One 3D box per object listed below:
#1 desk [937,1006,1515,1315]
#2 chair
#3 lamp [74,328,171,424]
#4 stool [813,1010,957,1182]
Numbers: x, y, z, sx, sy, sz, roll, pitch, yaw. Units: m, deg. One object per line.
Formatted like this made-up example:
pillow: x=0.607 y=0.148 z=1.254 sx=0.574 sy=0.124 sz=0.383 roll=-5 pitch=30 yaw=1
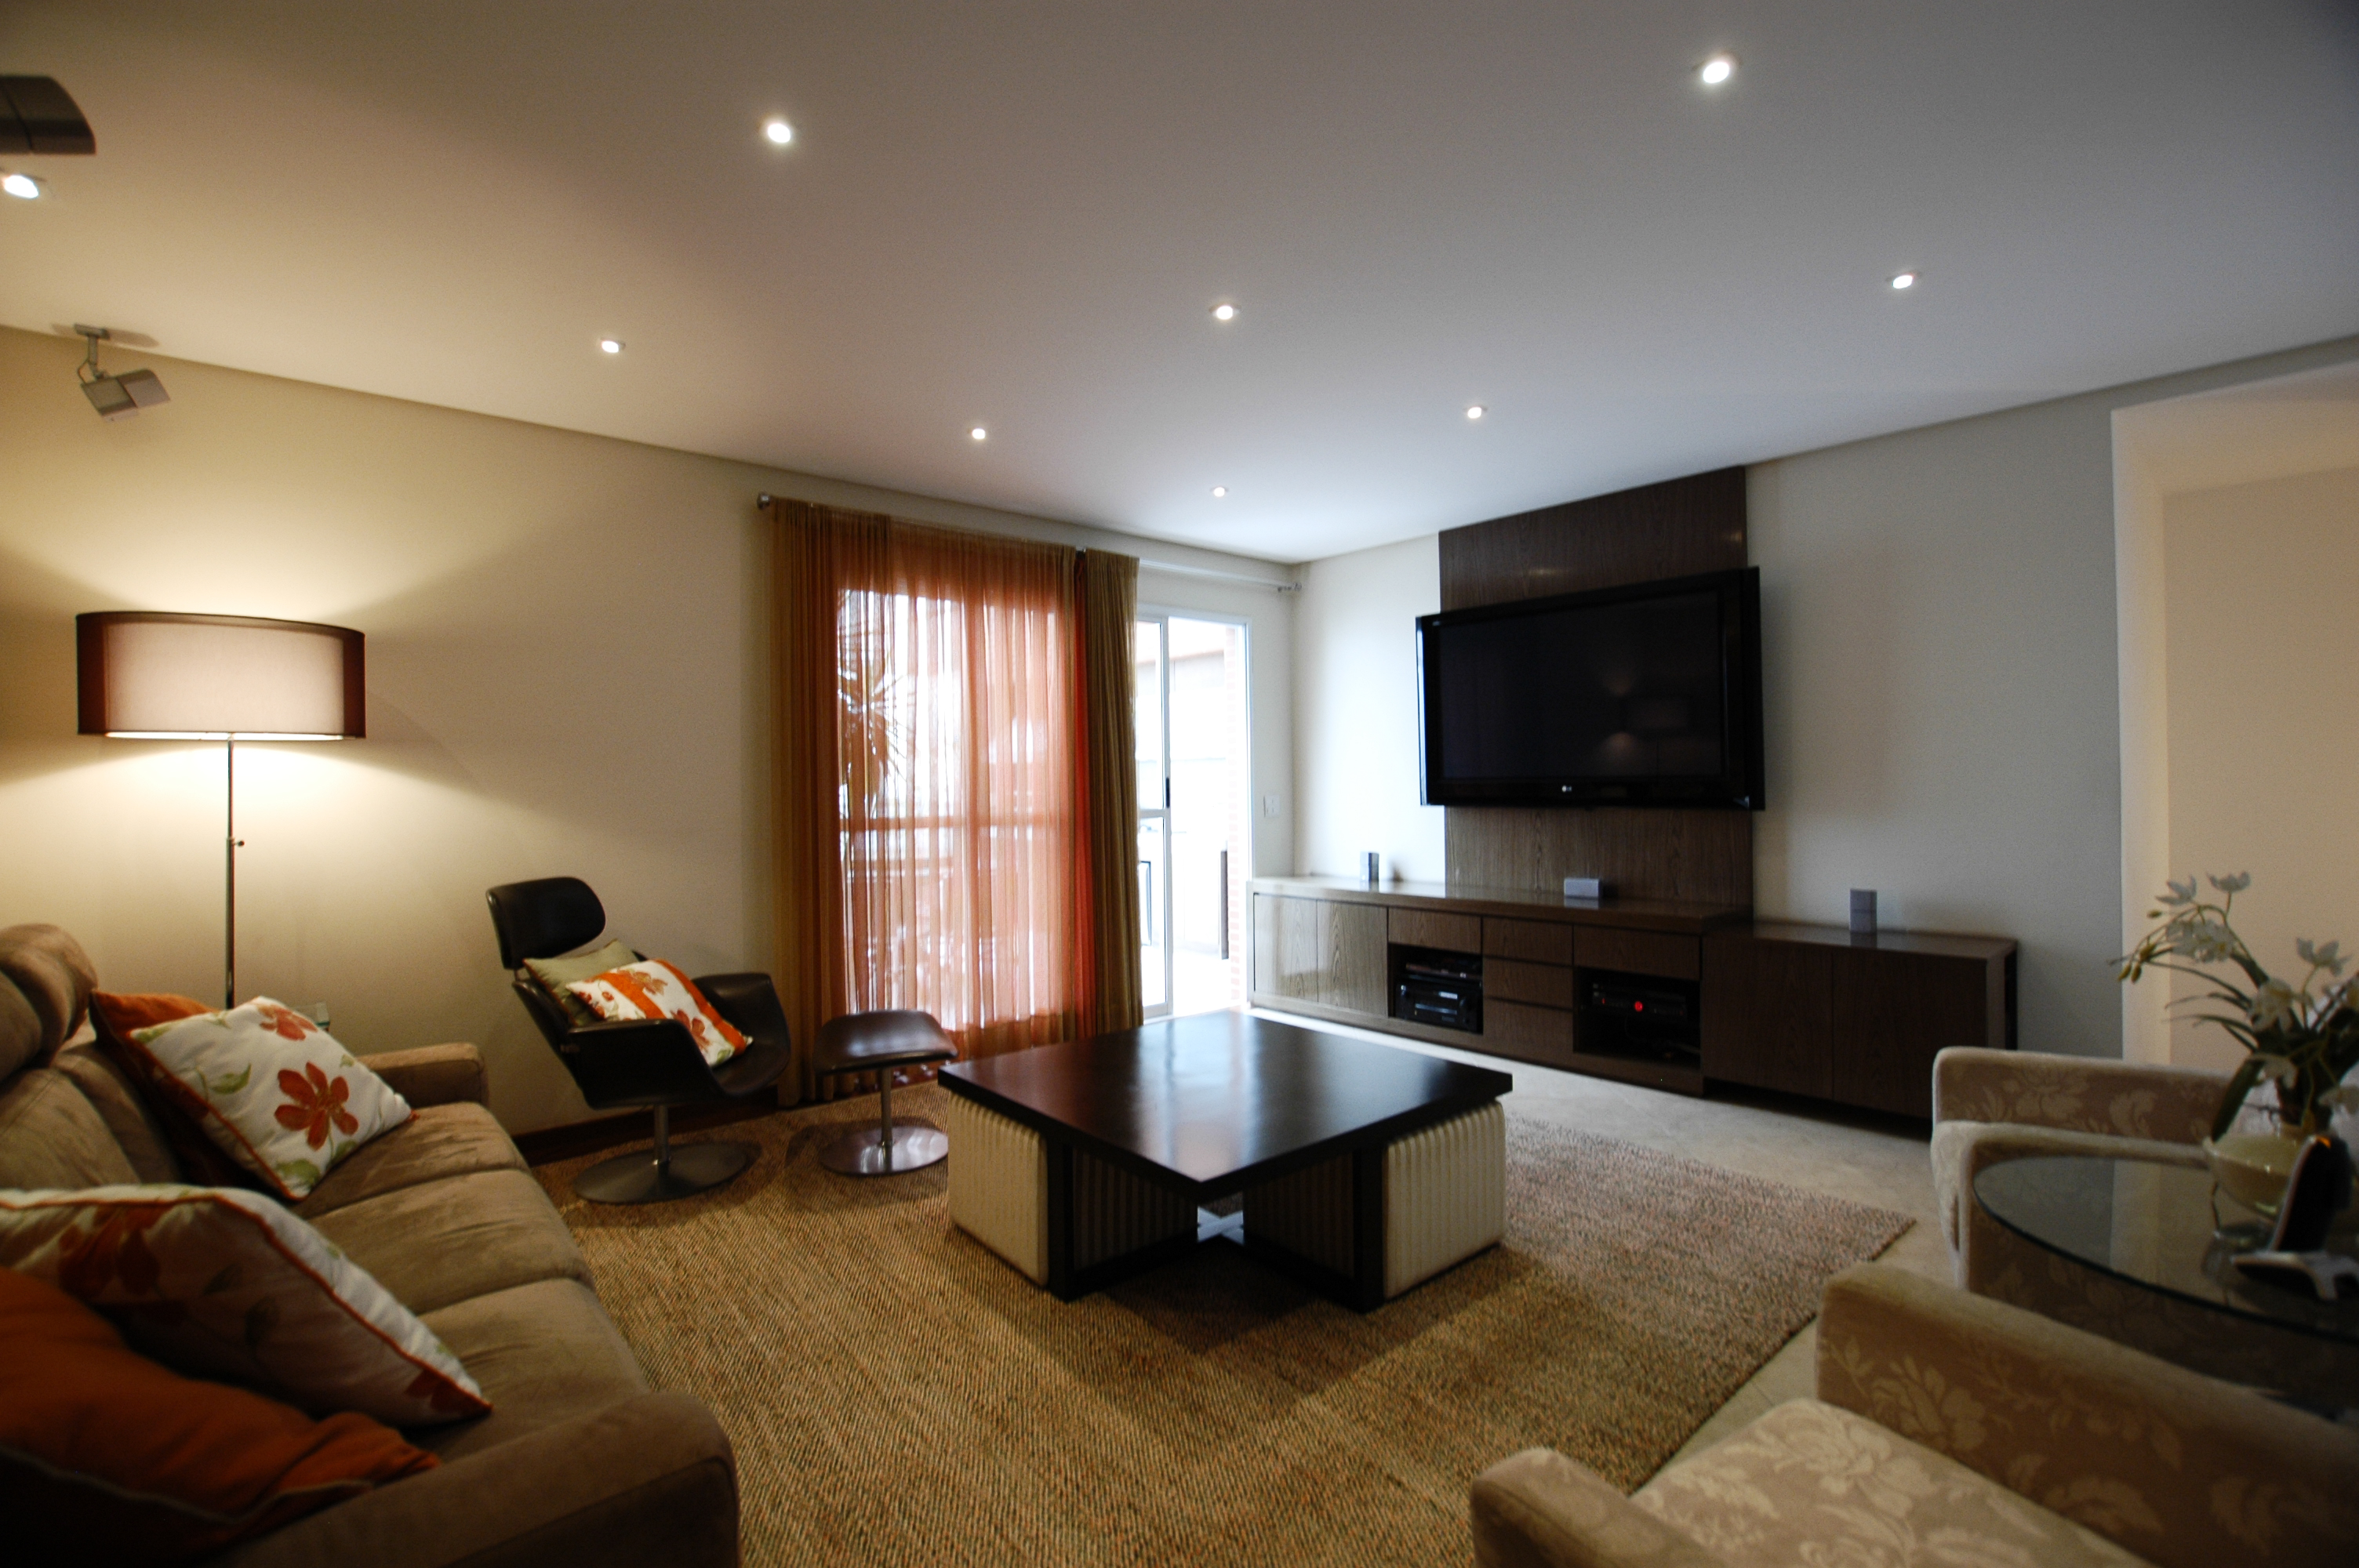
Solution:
desk: x=0.106 y=1.202 z=5.440 sx=1.082 sy=0.421 sz=1.086 roll=-2 pitch=2 yaw=-37
chair: x=-2.016 y=0.934 z=6.116 sx=0.940 sy=1.149 sz=0.944 roll=0 pitch=4 yaw=18
lamp: x=-3.651 y=-1.424 z=5.605 sx=0.241 sy=0.418 sz=0.379 roll=-3 pitch=8 yaw=-27
stool: x=-1.148 y=1.197 z=6.274 sx=0.516 sy=0.533 sz=0.589 roll=0 pitch=0 yaw=-29
